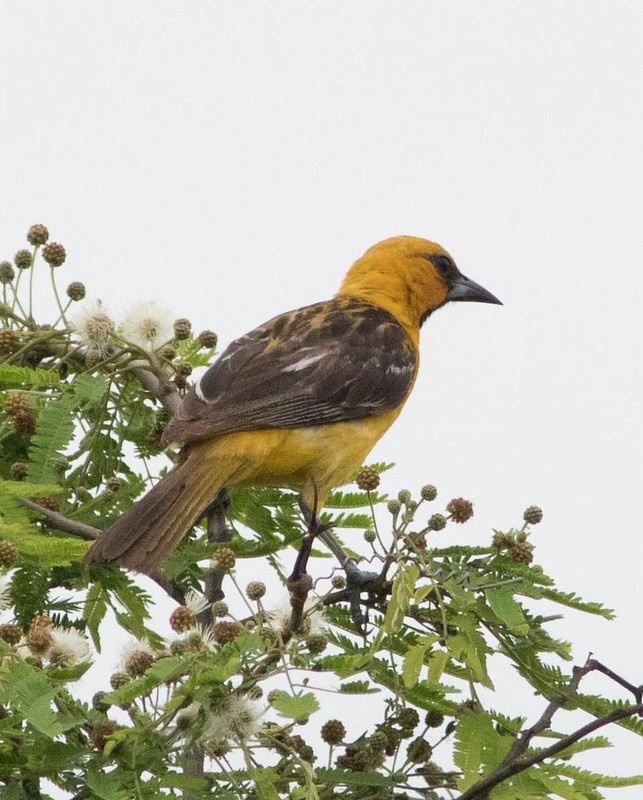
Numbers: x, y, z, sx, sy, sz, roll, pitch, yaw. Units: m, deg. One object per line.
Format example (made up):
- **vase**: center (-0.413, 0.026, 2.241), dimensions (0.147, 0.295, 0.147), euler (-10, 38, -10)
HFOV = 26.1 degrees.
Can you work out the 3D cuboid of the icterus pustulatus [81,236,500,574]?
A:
- **icterus pustulatus**: center (-0.114, -0.074, 5.412), dimensions (0.673, 2.071, 1.068), euler (3, -81, 40)
